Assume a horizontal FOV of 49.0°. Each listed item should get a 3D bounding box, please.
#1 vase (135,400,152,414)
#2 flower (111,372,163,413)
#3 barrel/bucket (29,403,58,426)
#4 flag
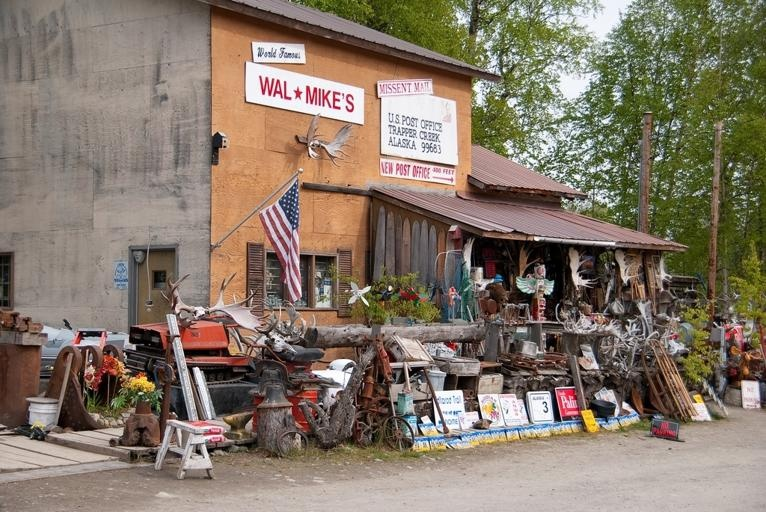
[{"bbox_3d":[-4.530,2.856,15.853,0.236,0.179,0.239,1,-4,-1],"label":"vase"},{"bbox_3d":[-4.646,2.688,16.342,0.676,0.712,0.880,9,-16,-24],"label":"flower"},{"bbox_3d":[-6.666,3.077,16.486,0.480,0.427,0.468,1,-6,0],"label":"barrel/bucket"},{"bbox_3d":[-2.719,-0.414,21.800,1.578,3.786,0.378,36,41,24],"label":"flag"}]
